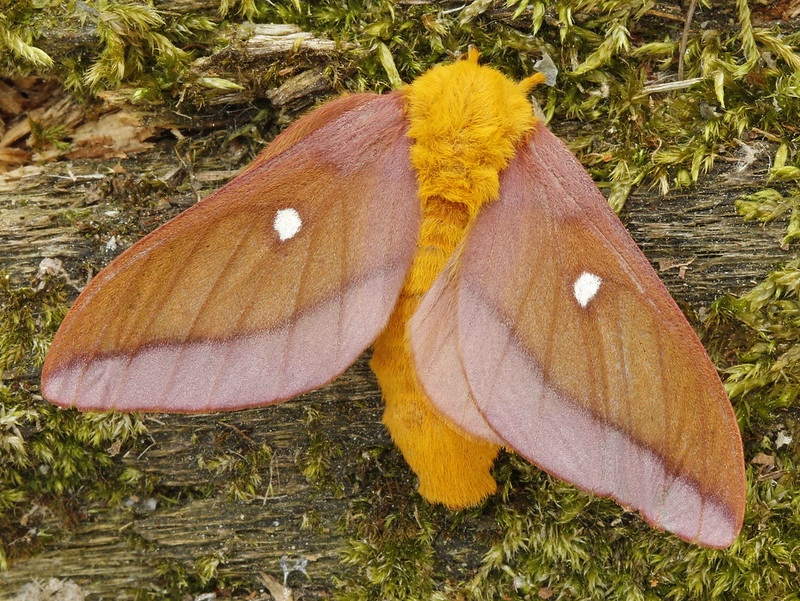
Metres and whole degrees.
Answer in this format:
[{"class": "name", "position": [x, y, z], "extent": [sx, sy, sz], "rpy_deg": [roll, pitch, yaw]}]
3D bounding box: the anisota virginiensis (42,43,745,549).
[{"class": "anisota virginiensis", "position": [-0.125, -0.189, 5.330], "extent": [4.102, 1.036, 2.286], "rpy_deg": [11, 98, 40]}]
